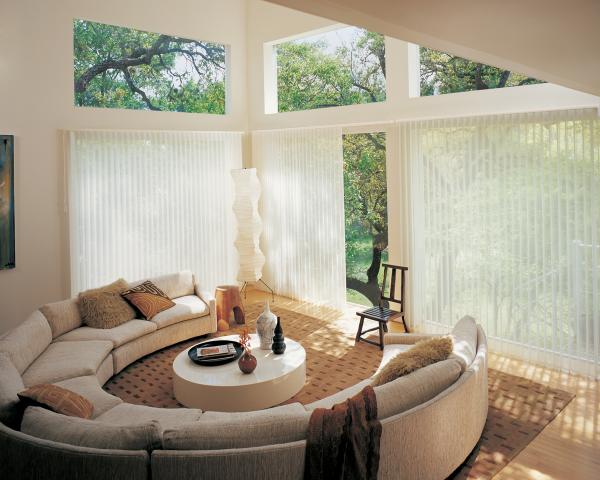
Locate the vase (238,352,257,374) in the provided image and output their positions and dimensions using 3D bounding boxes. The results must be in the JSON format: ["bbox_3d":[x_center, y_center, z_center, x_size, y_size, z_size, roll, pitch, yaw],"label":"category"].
[{"bbox_3d":[-0.510,1.119,4.460,0.171,0.254,0.175,-5,8,-18],"label":"vase"}]
